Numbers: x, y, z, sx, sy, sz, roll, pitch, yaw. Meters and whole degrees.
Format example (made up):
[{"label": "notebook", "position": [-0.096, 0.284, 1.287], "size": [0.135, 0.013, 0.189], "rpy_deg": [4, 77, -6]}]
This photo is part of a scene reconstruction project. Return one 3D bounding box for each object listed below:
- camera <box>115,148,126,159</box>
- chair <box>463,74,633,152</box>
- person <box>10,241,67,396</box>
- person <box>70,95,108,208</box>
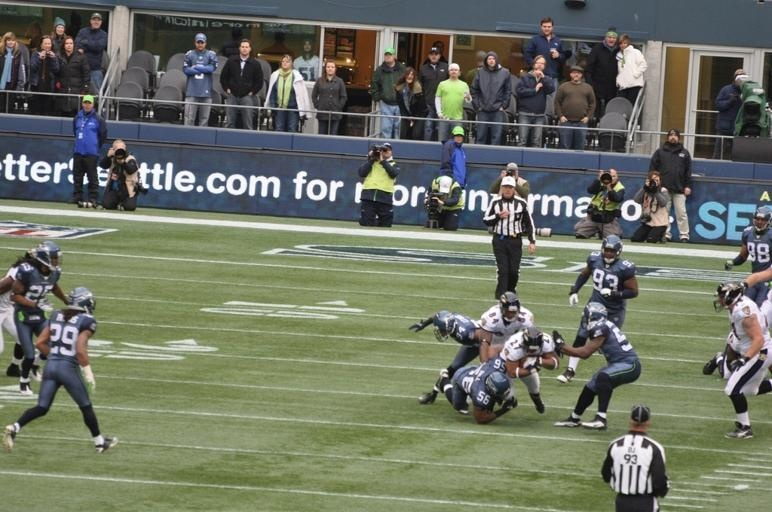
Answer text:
[{"label": "camera", "position": [-6.523, -2.416, 49.189], "size": [0.299, 0.240, 0.299], "rpy_deg": [1, 3, -10]}, {"label": "chair", "position": [4.083, -3.558, 51.667], "size": [4.203, 1.869, 2.289], "rpy_deg": [2, 3, 6]}, {"label": "person", "position": [-6.637, 1.269, 38.923], "size": [1.315, 2.923, 1.170], "rpy_deg": [-2, 7, -30]}, {"label": "person", "position": [-7.391, -2.479, 49.871], "size": [0.754, 2.717, 1.416], "rpy_deg": [2, 4, -10]}]
